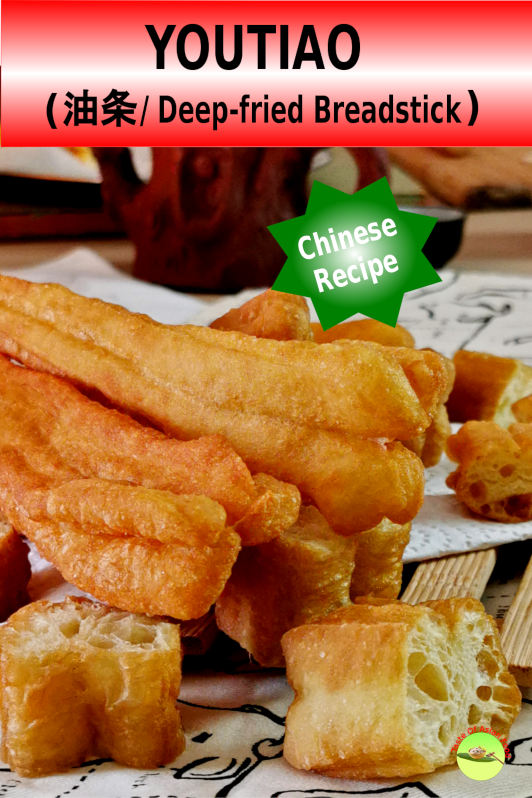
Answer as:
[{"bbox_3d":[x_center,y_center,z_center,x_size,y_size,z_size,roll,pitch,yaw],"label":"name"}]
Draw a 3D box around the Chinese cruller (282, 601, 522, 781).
[{"bbox_3d":[0.083,0.177,0.535,0.140,0.083,0.105,4,-14,-41],"label":"Chinese cruller"}]
